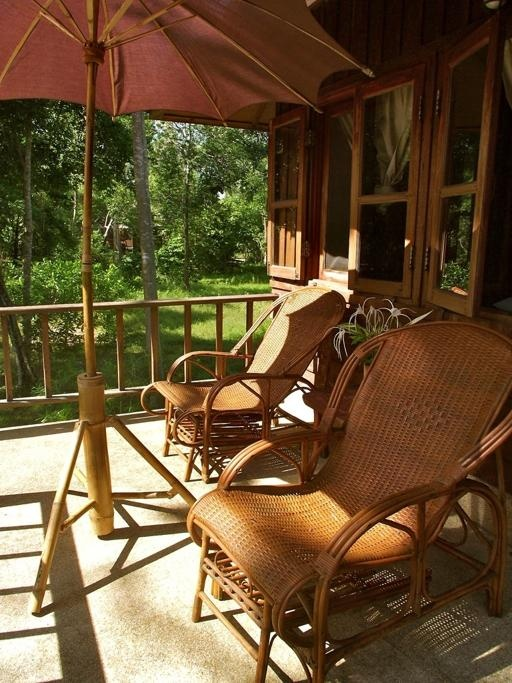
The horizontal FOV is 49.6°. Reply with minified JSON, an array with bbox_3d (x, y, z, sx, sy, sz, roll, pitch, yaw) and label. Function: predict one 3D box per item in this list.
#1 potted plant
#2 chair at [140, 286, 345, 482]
[{"bbox_3d":[0.619,-0.035,2.922,0.515,0.274,0.400,-7,12,25],"label":"potted plant"},{"bbox_3d":[-0.068,0.230,3.057,1.077,0.874,0.756,-13,16,-36],"label":"chair"}]
